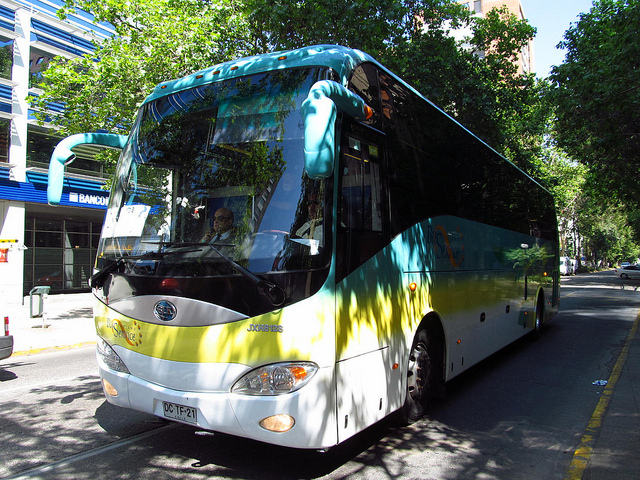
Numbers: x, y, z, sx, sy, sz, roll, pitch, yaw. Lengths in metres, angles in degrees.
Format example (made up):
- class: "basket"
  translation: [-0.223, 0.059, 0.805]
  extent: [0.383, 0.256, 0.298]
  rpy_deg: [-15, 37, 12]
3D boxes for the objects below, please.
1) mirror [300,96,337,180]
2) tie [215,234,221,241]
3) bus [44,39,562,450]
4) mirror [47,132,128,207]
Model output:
- class: "mirror"
  translation: [-0.012, -0.909, 3.783]
  extent: [0.303, 0.570, 0.285]
  rpy_deg: [1, 0, -4]
- class: "tie"
  translation: [-1.052, -0.026, 4.417]
  extent: [0.050, 0.059, 0.030]
  rpy_deg: [1, -1, -18]
- class: "bus"
  translation: [1.592, 0.434, 9.304]
  extent: [3.682, 4.448, 11.636]
  rpy_deg: [-4, -7, 31]
- class: "mirror"
  translation: [-2.917, -0.881, 5.448]
  extent: [0.896, 0.973, 0.229]
  rpy_deg: [2, -6, -17]
